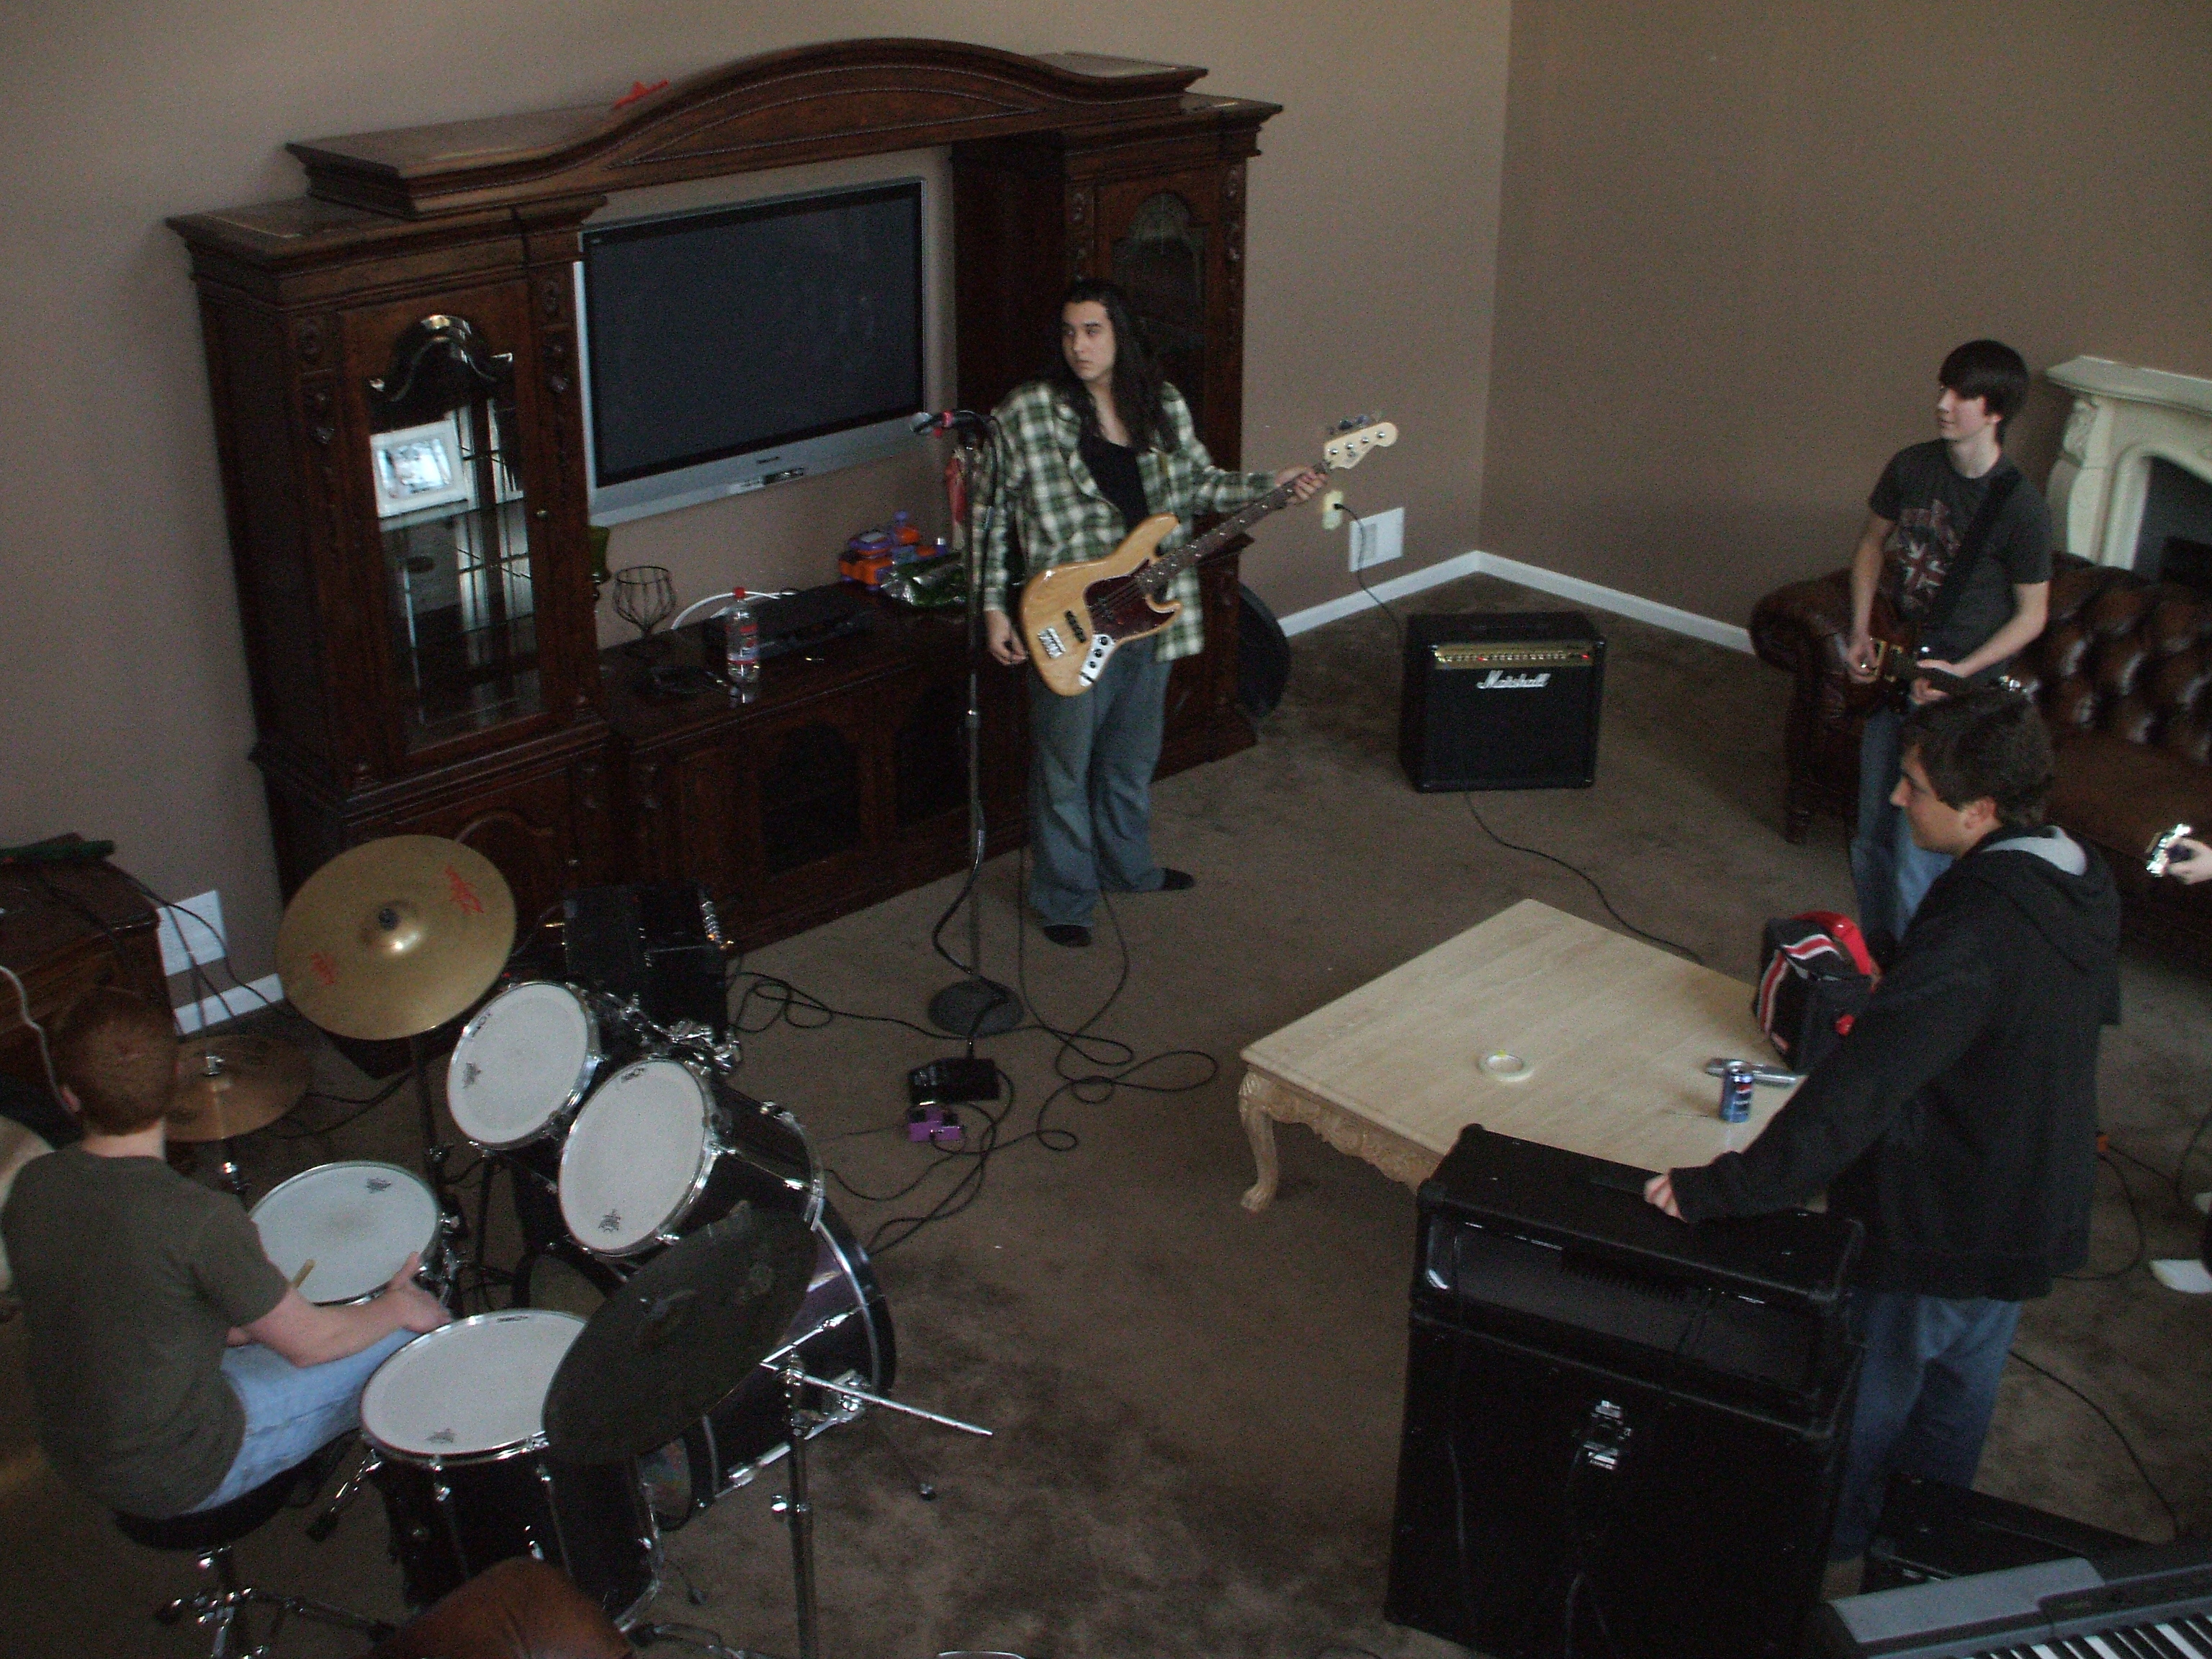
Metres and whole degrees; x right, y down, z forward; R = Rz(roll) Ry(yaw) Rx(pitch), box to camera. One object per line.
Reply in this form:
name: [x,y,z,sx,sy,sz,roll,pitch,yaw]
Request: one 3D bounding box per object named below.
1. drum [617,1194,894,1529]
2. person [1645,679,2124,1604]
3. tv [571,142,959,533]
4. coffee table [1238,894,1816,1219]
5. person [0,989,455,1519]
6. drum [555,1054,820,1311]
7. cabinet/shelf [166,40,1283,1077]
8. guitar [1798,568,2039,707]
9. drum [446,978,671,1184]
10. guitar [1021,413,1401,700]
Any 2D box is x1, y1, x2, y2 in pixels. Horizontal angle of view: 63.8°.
drum: [-0.612,0.911,3.020,0.352,0.486,0.479,-25,49,-26]
person: [1.378,0.593,3.033,0.722,1.587,0.469,-22,28,-39]
tv: [-0.995,-1.406,4.975,1.143,0.785,0.125,-27,42,-36]
coffee table: [0.923,0.515,3.930,0.770,0.357,0.780,-27,41,-34]
person: [-1.595,0.787,3.191,0.482,0.937,0.574,29,47,12]
drum: [-0.820,0.651,3.394,0.406,0.393,0.415,-31,57,25]
cabinet/shelf: [-1.065,-0.703,4.648,0.581,1.926,2.486,23,36,37]
guitar: [2.101,-0.448,4.616,0.164,0.338,0.701,-35,23,-20]
drum: [-1.118,0.468,3.581,0.336,0.347,0.350,37,3,22]
guitar: [0.299,-0.841,5.504,1.257,0.393,0.179,-33,24,-11]
